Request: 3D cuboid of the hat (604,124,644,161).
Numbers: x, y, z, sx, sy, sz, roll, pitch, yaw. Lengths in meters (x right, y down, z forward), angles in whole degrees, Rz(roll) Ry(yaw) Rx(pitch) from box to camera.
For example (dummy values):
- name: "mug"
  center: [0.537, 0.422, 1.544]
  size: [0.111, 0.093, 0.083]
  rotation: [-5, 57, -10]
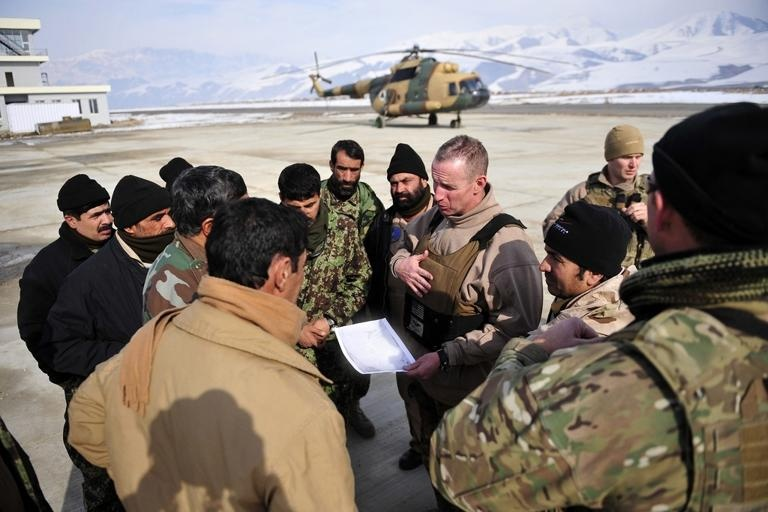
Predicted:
- name: "hat"
  center: [2.253, -1.088, 4.473]
  size: [0.335, 0.296, 0.367]
  rotation: [-9, 23, -12]

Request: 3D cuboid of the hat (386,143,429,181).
- name: "hat"
  center: [0.197, -0.900, 4.373]
  size: [0.291, 0.282, 0.374]
  rotation: [-15, 16, -41]

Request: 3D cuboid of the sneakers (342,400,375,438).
- name: "sneakers"
  center: [-0.205, 1.343, 3.938]
  size: [0.292, 0.261, 0.136]
  rotation: [11, 19, 42]

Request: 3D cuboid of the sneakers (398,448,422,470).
- name: "sneakers"
  center: [0.181, 1.539, 3.593]
  size: [0.160, 0.134, 0.157]
  rotation: [11, 19, 42]
